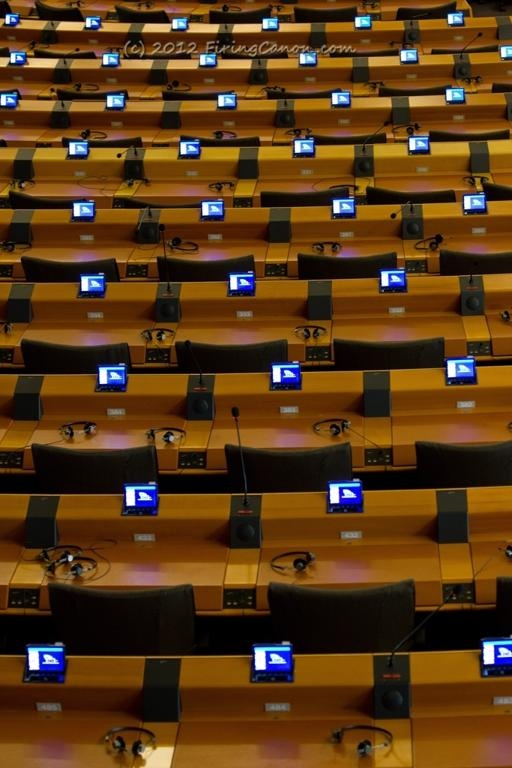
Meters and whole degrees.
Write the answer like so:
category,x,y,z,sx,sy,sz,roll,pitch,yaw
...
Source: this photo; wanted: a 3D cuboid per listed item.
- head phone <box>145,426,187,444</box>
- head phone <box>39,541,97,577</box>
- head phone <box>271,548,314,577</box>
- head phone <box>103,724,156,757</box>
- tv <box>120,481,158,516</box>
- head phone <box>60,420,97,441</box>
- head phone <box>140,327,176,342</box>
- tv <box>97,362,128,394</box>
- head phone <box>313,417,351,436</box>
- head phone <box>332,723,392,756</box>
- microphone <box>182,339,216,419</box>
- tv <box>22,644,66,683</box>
category,x,y,z,sx,sy,sz,roll,pitch,yaw
head phone,-0.424,0.238,3.910,0.099,0.039,0.109,4,14,13
head phone,-0.721,0.666,3.134,0.204,0.058,0.225,-13,26,-21
head phone,0.136,0.657,3.078,0.168,0.051,0.137,1,24,10
head phone,-0.359,1.005,2.304,0.085,0.029,0.087,2,10,-6
tv,-0.457,0.446,3.224,0.148,0.120,0.107,-7,25,-7
head phone,-0.864,0.218,3.972,0.116,0.042,0.113,-1,17,-8
head phone,-0.559,-0.282,4.705,0.199,0.041,0.156,-6,24,-6
tv,-0.703,-0.029,4.061,0.190,0.125,0.129,0,15,0
head phone,0.367,0.200,3.875,0.109,0.040,0.103,-4,20,20
head phone,0.302,0.989,2.296,0.105,0.033,0.080,-1,10,-29
microphone,-0.281,-0.035,4.042,0.156,0.365,0.267,-6,25,-3
tv,-0.610,0.815,2.424,0.136,0.118,0.117,0,-4,0
